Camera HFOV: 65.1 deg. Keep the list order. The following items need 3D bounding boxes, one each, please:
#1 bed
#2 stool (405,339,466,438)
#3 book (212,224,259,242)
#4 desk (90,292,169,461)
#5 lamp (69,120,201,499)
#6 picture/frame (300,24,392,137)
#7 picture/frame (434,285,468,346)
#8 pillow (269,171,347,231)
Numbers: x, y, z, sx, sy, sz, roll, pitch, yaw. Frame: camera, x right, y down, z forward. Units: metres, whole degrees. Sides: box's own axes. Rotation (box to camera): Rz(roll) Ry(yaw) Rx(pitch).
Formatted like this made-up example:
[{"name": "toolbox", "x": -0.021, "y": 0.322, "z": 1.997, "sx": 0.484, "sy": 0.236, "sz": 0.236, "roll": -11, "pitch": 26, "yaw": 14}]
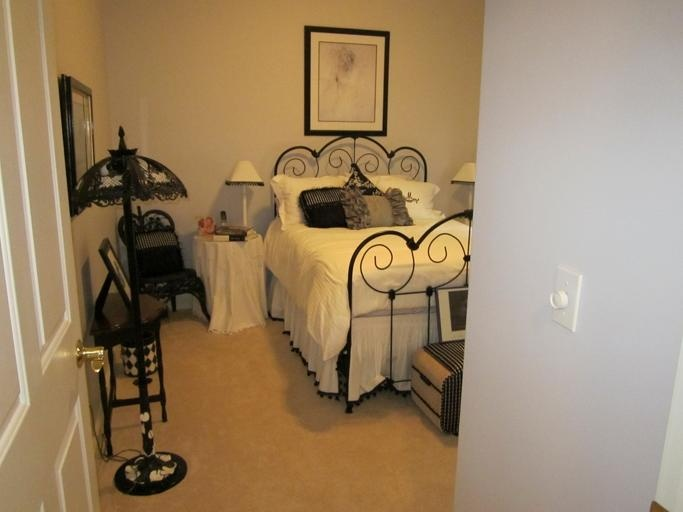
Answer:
[{"name": "bed", "x": 0.139, "y": -0.149, "z": 4.141, "sx": 1.353, "sy": 1.637, "sz": 2.168, "roll": -4, "pitch": 14, "yaw": -14}, {"name": "stool", "x": 0.512, "y": 0.701, "z": 3.007, "sx": 0.423, "sy": 0.382, "sz": 0.448, "roll": -4, "pitch": 9, "yaw": -21}, {"name": "book", "x": -0.860, "y": -0.169, "z": 4.241, "sx": 0.193, "sy": 0.059, "sz": 0.224, "roll": 3, "pitch": 13, "yaw": 5}, {"name": "desk", "x": -1.105, "y": 0.646, "z": 2.767, "sx": 0.265, "sy": 0.608, "sz": 0.647, "roll": -3, "pitch": 14, "yaw": -15}, {"name": "lamp", "x": -0.978, "y": 0.230, "z": 2.569, "sx": 0.487, "sy": 1.657, "sz": 0.634, "roll": -6, "pitch": 14, "yaw": -28}, {"name": "picture/frame", "x": 0.006, "y": -1.657, "z": 4.928, "sx": 0.824, "sy": 1.133, "sz": 0.043, "roll": -3, "pitch": 11, "yaw": -20}, {"name": "picture/frame", "x": 0.636, "y": 0.347, "z": 3.116, "sx": 0.262, "sy": 0.277, "sz": 0.018, "roll": -14, "pitch": 8, "yaw": -30}, {"name": "pillow", "x": -0.384, "y": -0.508, "z": 4.466, "sx": 0.492, "sy": 0.539, "sz": 0.148, "roll": -8, "pitch": -9, "yaw": -34}]
